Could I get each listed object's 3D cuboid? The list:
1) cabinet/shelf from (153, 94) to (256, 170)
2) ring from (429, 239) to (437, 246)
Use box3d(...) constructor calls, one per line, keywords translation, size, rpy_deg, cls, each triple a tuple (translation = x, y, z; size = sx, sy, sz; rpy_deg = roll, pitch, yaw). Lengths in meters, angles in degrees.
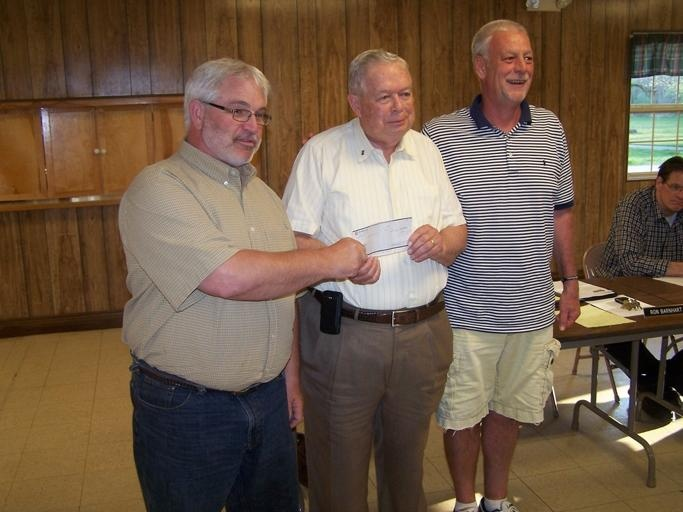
box3d(translation=(-1.533, -1.274, 5.860), size=(0.773, 0.672, 0.632), rpy_deg=(-2, 15, -3), cls="cabinet/shelf")
box3d(translation=(0.381, -0.053, 2.292), size=(0.019, 0.027, 0.008), rpy_deg=(-3, 3, -36), cls="ring")
